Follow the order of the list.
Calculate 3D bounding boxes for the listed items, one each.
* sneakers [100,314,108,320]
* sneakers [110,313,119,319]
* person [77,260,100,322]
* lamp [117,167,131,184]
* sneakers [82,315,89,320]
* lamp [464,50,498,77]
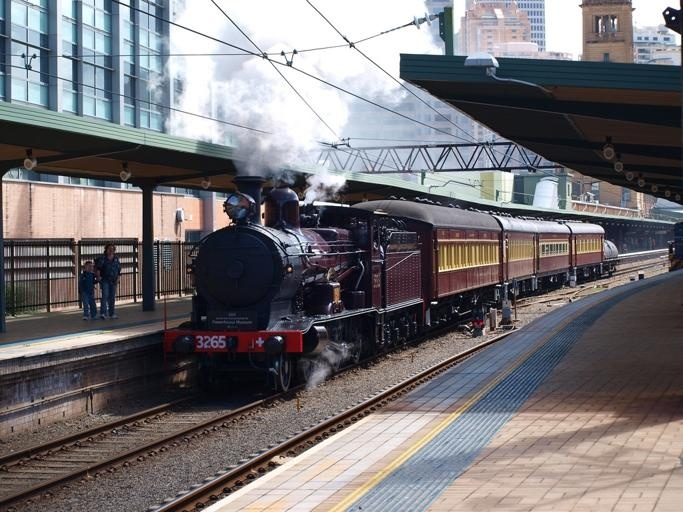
[{"bbox_3d":[-6.422,1.626,18.835,0.141,0.159,0.391,0,-6,-20],"label":"sneakers"},{"bbox_3d":[-6.159,1.633,18.919,0.271,0.104,0.087,-1,5,-9],"label":"sneakers"},{"bbox_3d":[-6.795,0.912,18.787,0.483,1.545,0.968,-7,3,-20],"label":"person"},{"bbox_3d":[-5.926,-2.253,19.163,0.372,0.454,0.177,-1,3,13],"label":"lamp"},{"bbox_3d":[-6.837,1.658,18.687,0.072,0.077,0.204,-3,-10,-4],"label":"sneakers"},{"bbox_3d":[2.506,-3.505,12.591,0.510,0.267,0.485,0,0,-39],"label":"lamp"}]
